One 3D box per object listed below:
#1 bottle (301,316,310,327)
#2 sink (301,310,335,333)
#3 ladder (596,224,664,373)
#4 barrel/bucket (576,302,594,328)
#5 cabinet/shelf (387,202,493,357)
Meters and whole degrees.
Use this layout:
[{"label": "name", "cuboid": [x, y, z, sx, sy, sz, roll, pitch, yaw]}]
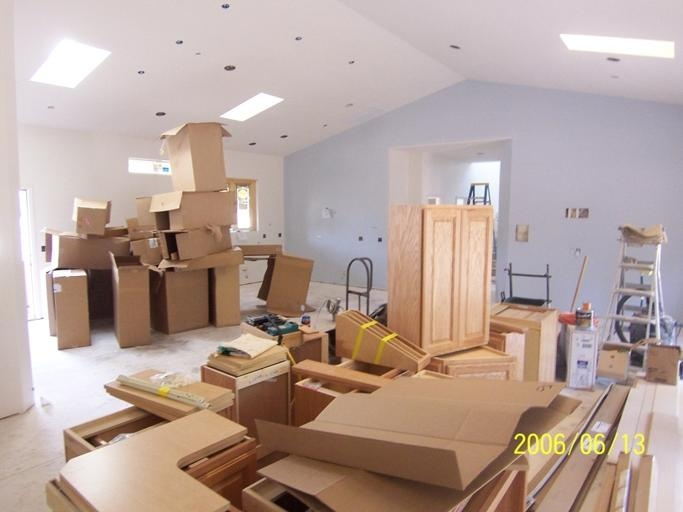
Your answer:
[{"label": "bottle", "cuboid": [-0.341, 0.611, 4.802, 0.105, 0.133, 0.126, 0, -4, -5]}, {"label": "sink", "cuboid": [-0.292, 0.861, 7.285, 0.361, 0.090, 0.393, 9, 14, 38]}, {"label": "ladder", "cuboid": [3.639, 0.429, 6.399, 0.684, 1.661, 2.216, 3, 3, 32]}, {"label": "barrel/bucket", "cuboid": [2.621, 0.621, 5.461, 0.194, 0.257, 0.259, -1, 1, 13]}, {"label": "cabinet/shelf", "cuboid": [0.877, 0.204, 4.412, 0.936, 1.281, 0.354, 0, 3, -18]}]
